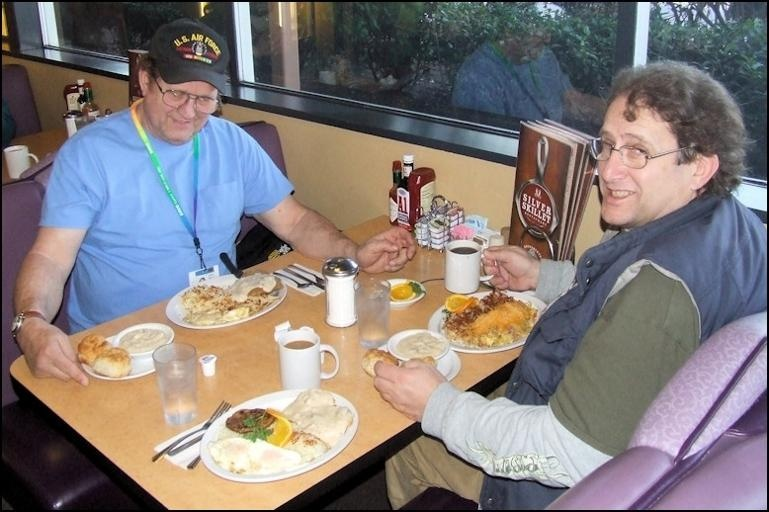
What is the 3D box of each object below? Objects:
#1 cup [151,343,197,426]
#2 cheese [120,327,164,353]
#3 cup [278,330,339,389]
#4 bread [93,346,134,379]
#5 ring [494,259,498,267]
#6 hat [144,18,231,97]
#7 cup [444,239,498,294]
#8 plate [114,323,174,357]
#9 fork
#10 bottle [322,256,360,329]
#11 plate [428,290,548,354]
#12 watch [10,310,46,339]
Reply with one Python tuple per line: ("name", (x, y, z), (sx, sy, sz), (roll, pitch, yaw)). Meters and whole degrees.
("cup", (-0.529, 0.339, 1.385), (0.125, 0.182, 0.120), (-6, -4, 0))
("cheese", (-0.730, 0.253, 1.600), (0.088, 0.019, 0.083), (0, 22, -5))
("cup", (-0.207, 0.270, 1.456), (0.200, 0.165, 0.121), (1, 20, -3))
("bread", (-0.763, 0.296, 1.484), (0.086, 0.027, 0.085), (25, 21, 21))
("ring", (0.411, 0.021, 1.935), (0.023, 0.029, 0.008), (-1, 0, 20))
("hat", (-0.706, -0.774, 1.961), (0.274, 0.187, 0.364), (-5, 38, -34))
("cup", (0.322, 0.043, 1.900), (0.191, 0.152, 0.114), (1, 15, 1))
("plate", (-0.737, 0.257, 1.618), (0.165, 0.034, 0.156), (8, 25, 6))
("fork", (-0.482, 0.437, 1.306), (0.026, 0.030, 0.225), (28, 42, 36))
("bottle", (-0.145, 0.117, 1.724), (0.130, 0.200, 0.123), (0, 15, 0))
("plate", (0.356, 0.209, 1.669), (0.282, 0.054, 0.209), (-16, 37, -22))
("watch", (-1.076, 0.203, 1.589), (0.082, 0.050, 0.078), (31, 38, -26))
